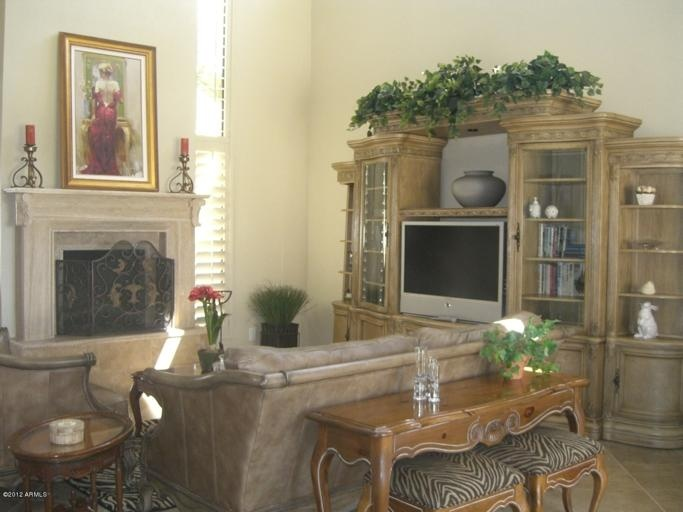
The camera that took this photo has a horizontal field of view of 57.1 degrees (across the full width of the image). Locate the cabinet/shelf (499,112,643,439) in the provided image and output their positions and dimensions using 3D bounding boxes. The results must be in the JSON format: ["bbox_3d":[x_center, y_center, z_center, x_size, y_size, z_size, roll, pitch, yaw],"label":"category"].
[{"bbox_3d":[2.314,0.241,5.280,0.879,2.604,0.546,6,-4,-23],"label":"cabinet/shelf"}]

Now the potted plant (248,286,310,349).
[{"bbox_3d":[-0.704,0.702,7.381,0.702,0.769,0.621,0,-4,3],"label":"potted plant"}]

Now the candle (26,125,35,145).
[{"bbox_3d":[-2.987,-1.141,5.994,0.091,0.195,0.293,-3,5,-26],"label":"candle"}]

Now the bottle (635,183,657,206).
[{"bbox_3d":[2.484,-0.494,5.122,0.135,0.165,0.106,0,5,16],"label":"bottle"}]

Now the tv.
[{"bbox_3d":[1.075,0.146,5.856,0.903,0.821,0.129,4,7,43],"label":"tv"}]

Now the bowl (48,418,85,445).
[{"bbox_3d":[-1.506,0.953,3.429,0.176,0.100,0.210,-3,5,-24],"label":"bowl"}]

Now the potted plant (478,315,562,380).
[{"bbox_3d":[1.058,0.554,3.890,0.448,0.321,0.417,-4,5,-31],"label":"potted plant"}]

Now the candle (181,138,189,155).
[{"bbox_3d":[-1.713,-1.176,6.803,0.100,0.191,0.282,-2,5,-15],"label":"candle"}]

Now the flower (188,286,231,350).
[{"bbox_3d":[-1.288,0.620,5.981,0.360,0.645,0.353,-3,-3,10],"label":"flower"}]

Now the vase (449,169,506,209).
[{"bbox_3d":[1.323,-0.657,6.158,0.580,0.412,0.601,-4,4,-24],"label":"vase"}]
